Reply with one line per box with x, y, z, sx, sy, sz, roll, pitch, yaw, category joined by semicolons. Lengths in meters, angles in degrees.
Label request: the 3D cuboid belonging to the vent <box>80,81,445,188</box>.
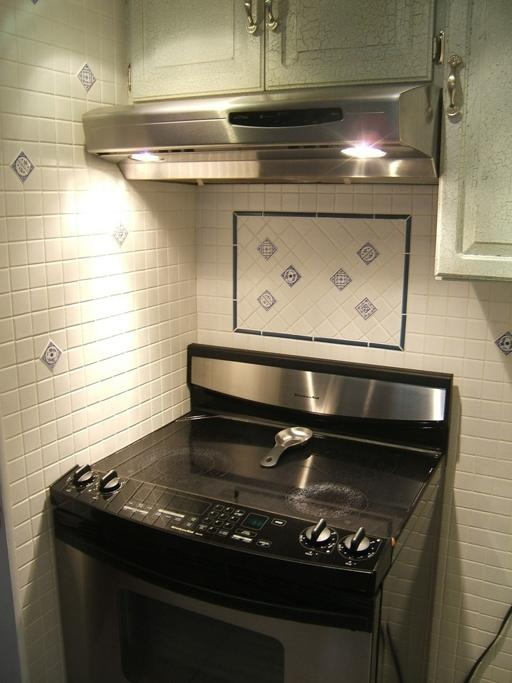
-0.012;-0.394;1.075;0.709;0.149;0.287;5;11;25;vent
